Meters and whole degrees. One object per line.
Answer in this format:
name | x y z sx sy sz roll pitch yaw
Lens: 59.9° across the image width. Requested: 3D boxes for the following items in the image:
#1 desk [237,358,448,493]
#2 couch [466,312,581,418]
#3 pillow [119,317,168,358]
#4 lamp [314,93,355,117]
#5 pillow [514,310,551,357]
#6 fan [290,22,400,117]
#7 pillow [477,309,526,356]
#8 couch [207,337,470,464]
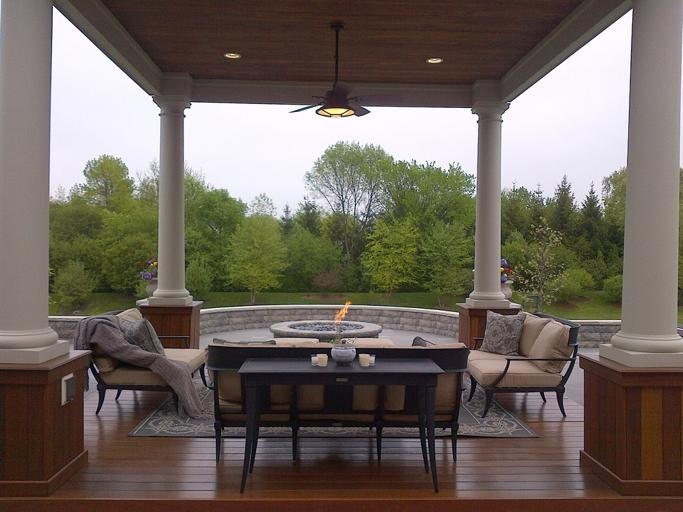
desk | -0.015 1.484 5.283 1.767 1.012 0.650 1 5 -1
couch | 2.152 1.325 7.371 1.112 1.056 1.610 0 0 4
pillow | -2.345 0.958 7.006 0.447 0.445 0.476 4 2 -5
lamp | -0.074 -1.824 7.199 0.466 0.225 0.528 1 5 3
pillow | 2.270 0.972 7.109 0.161 0.311 0.462 34 1 -6
fan | -0.025 -2.264 7.146 1.080 1.049 1.003 0 11 -2
pillow | 1.996 1.013 7.455 0.203 0.559 0.555 25 -14 -39
couch | -0.071 1.406 5.495 2.163 1.125 1.398 6 0 -5
